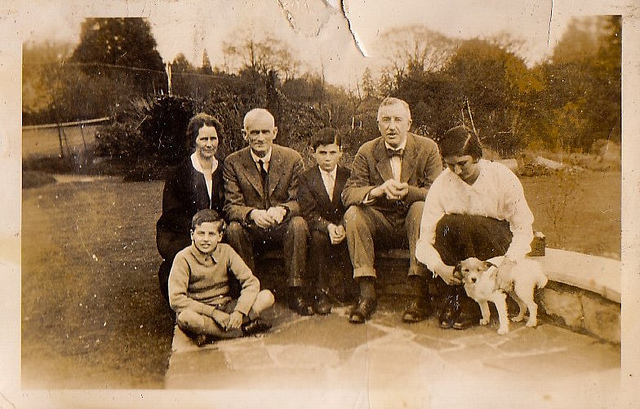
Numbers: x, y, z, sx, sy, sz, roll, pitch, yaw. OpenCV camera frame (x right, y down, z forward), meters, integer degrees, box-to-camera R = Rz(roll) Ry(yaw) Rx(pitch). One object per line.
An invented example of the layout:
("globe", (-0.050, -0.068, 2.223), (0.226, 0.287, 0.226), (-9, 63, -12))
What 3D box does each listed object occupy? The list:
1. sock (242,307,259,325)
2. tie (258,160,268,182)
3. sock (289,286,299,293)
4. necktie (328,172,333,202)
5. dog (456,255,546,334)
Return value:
("sock", (-0.687, 1.130, 5.907), (0.060, 0.155, 0.130), (40, -23, -24))
("tie", (-0.577, -0.346, 6.043), (0.059, 0.238, 0.066), (-10, 3, 3))
("sock", (-0.253, 0.854, 5.899), (0.097, 0.070, 0.019), (0, 9, 6))
("necktie", (0.114, -0.180, 5.997), (0.051, 0.265, 0.081), (-1, 9, 0))
("dog", (1.843, 0.877, 5.927), (0.960, 0.823, 0.350), (-9, 10, -7))
